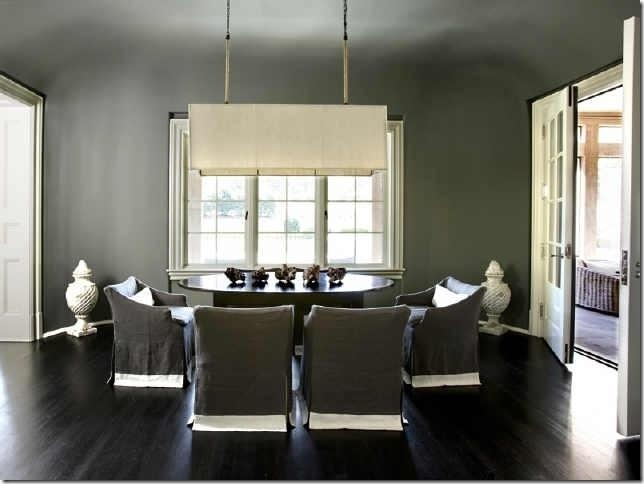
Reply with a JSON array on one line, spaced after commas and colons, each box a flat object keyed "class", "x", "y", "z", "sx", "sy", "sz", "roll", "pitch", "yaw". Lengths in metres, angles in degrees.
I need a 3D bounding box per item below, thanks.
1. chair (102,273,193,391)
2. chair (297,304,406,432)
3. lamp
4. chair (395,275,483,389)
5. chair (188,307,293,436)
[{"class": "chair", "x": -1.711, "y": 0.883, "z": 5.759, "sx": 0.763, "sy": 0.965, "sz": 0.995, "roll": -1, "pitch": 2, "yaw": -3}, {"class": "chair", "x": 0.238, "y": 0.826, "z": 5.230, "sx": 0.969, "sy": 1.296, "sz": 1.380, "roll": 2, "pitch": 22, "yaw": 4}, {"class": "lamp", "x": -0.467, "y": -1.836, "z": 6.441, "sx": 1.963, "sy": 2.065, "sz": 0.695, "roll": 0, "pitch": -3, "yaw": -1}, {"class": "chair", "x": 1.217, "y": 0.897, "z": 5.822, "sx": 0.822, "sy": 1.087, "sz": 1.057, "roll": 0, "pitch": -5, "yaw": 0}, {"class": "chair", "x": -0.638, "y": 1.056, "z": 5.019, "sx": 0.913, "sy": 1.128, "sz": 0.957, "roll": 1, "pitch": 4, "yaw": -2}]
